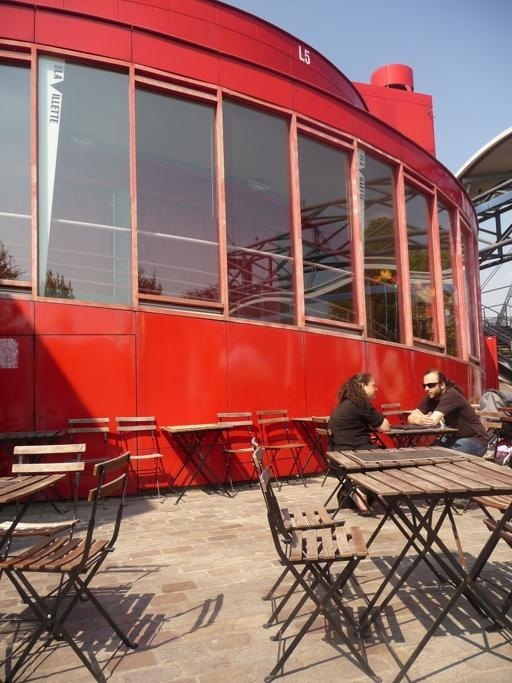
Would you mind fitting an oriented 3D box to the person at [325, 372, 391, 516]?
[{"bbox_3d":[1.205,1.062,5.861,0.755,1.445,0.655,-4,1,8],"label":"person"}]

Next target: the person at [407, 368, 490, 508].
[{"bbox_3d":[2.109,1.029,5.917,0.877,1.359,0.485,1,-11,-10],"label":"person"}]
